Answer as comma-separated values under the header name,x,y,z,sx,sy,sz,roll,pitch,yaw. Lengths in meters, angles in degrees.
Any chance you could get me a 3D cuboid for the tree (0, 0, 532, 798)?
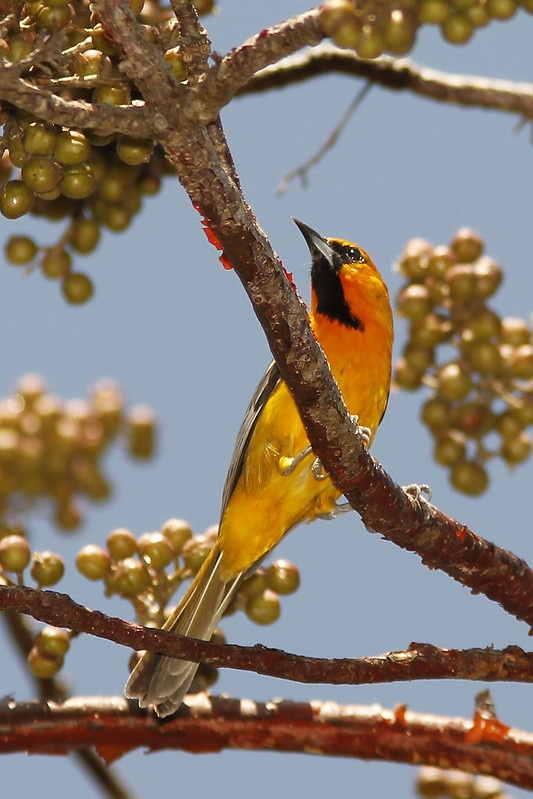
name,x,y,z,sx,sy,sz,roll,pitch,yaw
tree,0.360,-0.545,5.560,1.067,4.343,1.607,7,-8,41
